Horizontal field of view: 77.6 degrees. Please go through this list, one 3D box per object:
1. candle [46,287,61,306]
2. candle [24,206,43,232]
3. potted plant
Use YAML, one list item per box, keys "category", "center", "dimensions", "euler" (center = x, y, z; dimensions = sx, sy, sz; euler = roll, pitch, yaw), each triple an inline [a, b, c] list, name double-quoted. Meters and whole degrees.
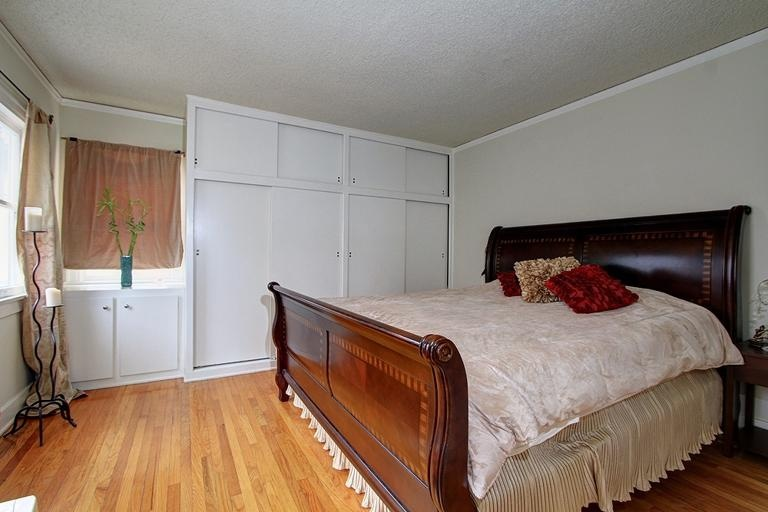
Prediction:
- category: "candle"
  center: [-2.762, 0.341, 4.044]
  dimensions: [0.158, 0.172, 0.156]
  euler: [0, 3, -39]
- category: "candle"
  center: [-2.886, -0.307, 3.934]
  dimensions: [0.106, 0.214, 0.218]
  euler: [-2, 1, -30]
- category: "potted plant"
  center: [-2.684, -0.196, 4.931]
  dimensions: [0.464, 1.023, 0.298]
  euler: [-2, 2, -29]
